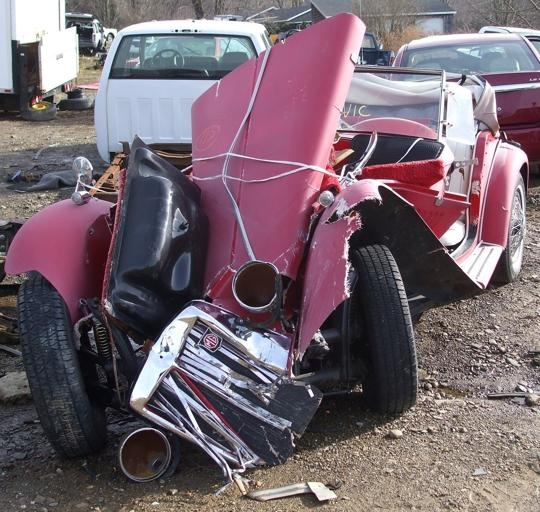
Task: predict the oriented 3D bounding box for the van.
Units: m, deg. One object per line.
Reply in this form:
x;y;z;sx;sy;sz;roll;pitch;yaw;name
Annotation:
-1.048;-2.281;6.917;1.842;1.288;2.722;1;28;9;van

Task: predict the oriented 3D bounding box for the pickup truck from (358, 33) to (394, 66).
3.723;-7.462;18.018;0.939;1.071;3.180;2;22;10;pickup truck
